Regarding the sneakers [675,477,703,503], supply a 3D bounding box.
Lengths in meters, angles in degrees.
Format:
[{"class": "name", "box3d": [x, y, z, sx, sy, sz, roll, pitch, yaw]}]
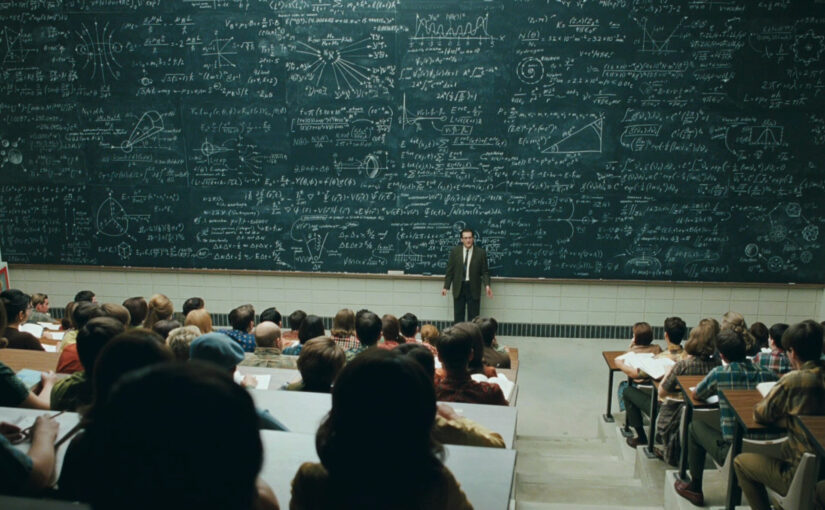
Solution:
[{"class": "sneakers", "box3d": [2.341, 2.011, 5.966, 0.122, 0.095, 0.237, -8, 21, -22]}]

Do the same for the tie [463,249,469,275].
[{"class": "tie", "box3d": [0.673, 0.091, 8.686, 0.080, 0.308, 0.037, 1, 4, 2]}]
